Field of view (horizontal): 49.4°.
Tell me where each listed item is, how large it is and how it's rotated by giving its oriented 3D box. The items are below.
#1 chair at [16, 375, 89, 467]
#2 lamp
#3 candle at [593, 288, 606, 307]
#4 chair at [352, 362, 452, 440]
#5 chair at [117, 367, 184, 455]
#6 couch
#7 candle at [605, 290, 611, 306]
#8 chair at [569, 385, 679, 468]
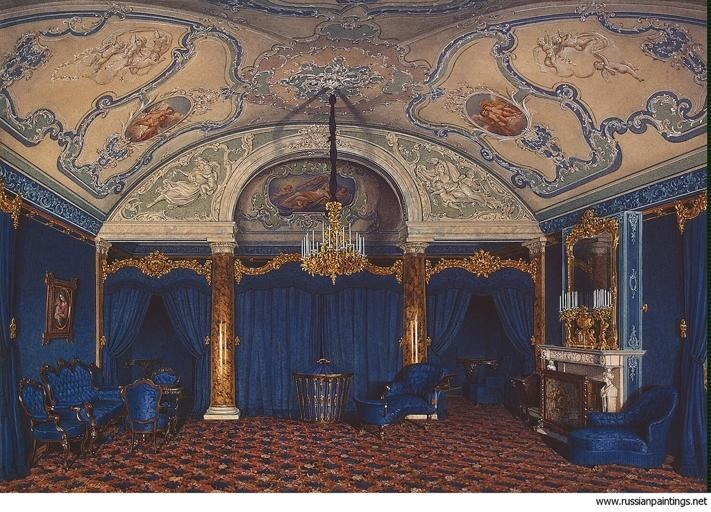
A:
[{"bbox_3d":[-5.200,2.809,13.367,0.953,1.436,0.813,1,3,10],"label":"chair"},{"bbox_3d":[-0.415,-1.438,14.337,1.352,3.713,1.556,0,-6,-1],"label":"lamp"},{"bbox_3d":[4.604,0.801,14.495,0.072,0.361,0.365,-1,3,-26],"label":"candle"},{"bbox_3d":[0.941,2.840,15.580,2.001,1.137,1.081,-2,4,-45],"label":"chair"},{"bbox_3d":[-3.770,2.877,14.322,0.964,1.568,1.149,1,-3,-8],"label":"chair"},{"bbox_3d":[-5.043,2.761,14.640,1.024,1.615,2.179,1,-2,5],"label":"couch"},{"bbox_3d":[4.684,0.776,14.366,0.042,0.295,0.137,0,3,-13],"label":"candle"},{"bbox_3d":[4.525,2.859,13.187,1.804,1.236,0.840,0,3,4],"label":"chair"}]
